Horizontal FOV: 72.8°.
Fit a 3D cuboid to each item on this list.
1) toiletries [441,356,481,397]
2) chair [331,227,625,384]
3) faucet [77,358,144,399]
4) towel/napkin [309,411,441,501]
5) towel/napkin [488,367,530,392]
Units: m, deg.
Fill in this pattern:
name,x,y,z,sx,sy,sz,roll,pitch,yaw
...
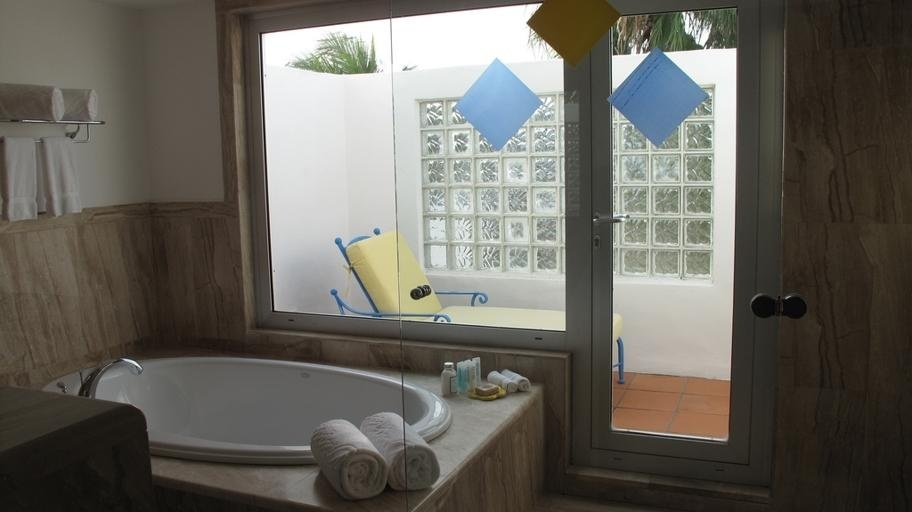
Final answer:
name,x,y,z,sx,sy,sz,roll,pitch,yaw
toiletries,0.043,0.593,3.047,0.188,0.175,0.153,3,-4,-41
chair,0.129,0.341,3.354,1.502,0.835,0.549,5,16,21
faucet,-0.981,0.339,1.715,0.042,0.076,0.215,-13,0,33
towel/napkin,-0.288,0.692,2.265,0.434,0.182,0.426,-4,11,-22
towel/napkin,0.265,0.613,3.081,0.119,0.049,0.121,5,1,-40
